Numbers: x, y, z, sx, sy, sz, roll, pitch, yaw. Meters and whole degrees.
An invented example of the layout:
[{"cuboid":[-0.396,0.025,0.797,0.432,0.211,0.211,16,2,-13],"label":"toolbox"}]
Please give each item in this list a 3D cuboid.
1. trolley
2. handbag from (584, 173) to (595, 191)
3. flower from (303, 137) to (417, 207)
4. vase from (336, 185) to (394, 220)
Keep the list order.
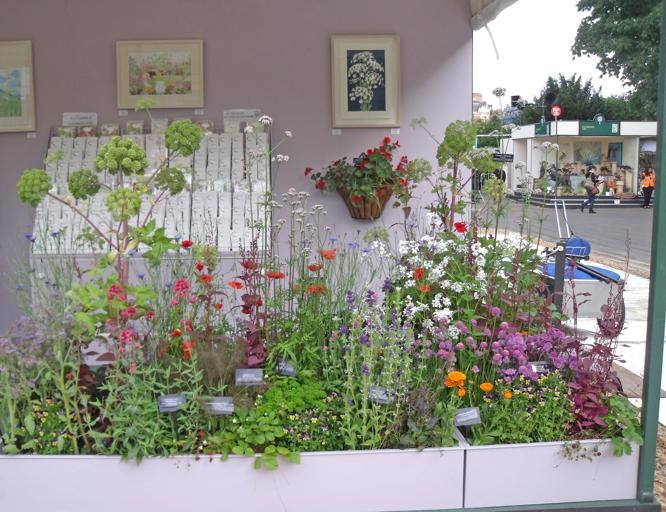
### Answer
[{"cuboid":[2.229,0.019,6.082,0.644,1.221,0.993,1,12,-6],"label":"trolley"},{"cuboid":[5.736,-1.667,14.417,0.212,0.422,0.278,-1,3,7],"label":"handbag"},{"cuboid":[0.294,-0.774,6.118,0.685,0.454,0.796,9,24,39],"label":"flower"},{"cuboid":[0.326,-0.563,6.329,0.581,0.374,0.581,-1,16,-12],"label":"vase"}]
